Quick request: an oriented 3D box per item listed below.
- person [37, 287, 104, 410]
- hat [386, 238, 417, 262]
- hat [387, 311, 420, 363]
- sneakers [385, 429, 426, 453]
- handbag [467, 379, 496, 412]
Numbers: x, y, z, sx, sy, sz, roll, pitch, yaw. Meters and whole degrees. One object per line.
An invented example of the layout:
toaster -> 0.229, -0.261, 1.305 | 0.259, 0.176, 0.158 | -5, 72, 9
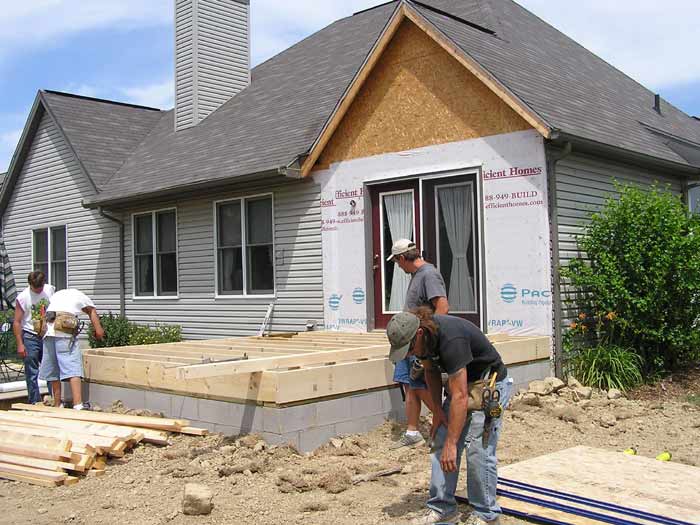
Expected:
person -> -3.735, 1.177, 8.955 | 0.950, 1.552, 0.662 | 9, 11, 43
hat -> 0.529, -0.146, 7.246 | 0.342, 0.204, 0.232 | -24, 4, 28
hat -> 0.433, 0.605, 5.329 | 0.275, 0.398, 0.228 | -1, 8, -15
sneakers -> 0.604, 1.943, 7.243 | 0.454, 0.215, 0.165 | -6, -16, -10
handbag -> 1.091, 1.103, 5.598 | 0.151, 0.250, 0.279 | 3, -3, -12
